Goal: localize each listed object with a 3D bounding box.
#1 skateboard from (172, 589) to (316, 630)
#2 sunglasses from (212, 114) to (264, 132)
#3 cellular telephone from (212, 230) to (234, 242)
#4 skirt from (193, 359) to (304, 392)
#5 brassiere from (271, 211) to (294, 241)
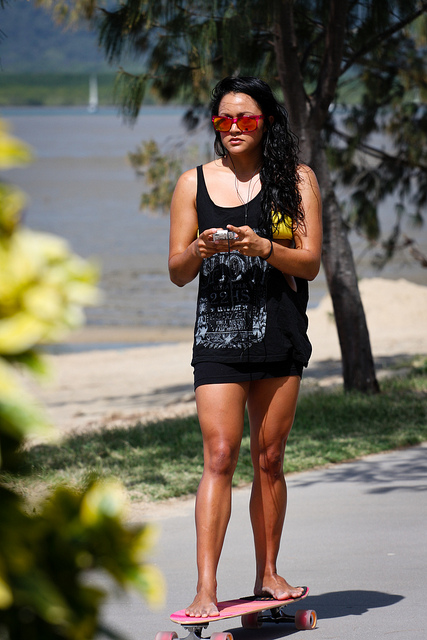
[{"bbox_3d":[0.112,0.853,2.464,0.163,0.088,0.602,-2,-9,35],"label":"skateboard"},{"bbox_3d":[0.071,-0.601,2.540,0.155,0.059,0.056,-4,2,6],"label":"sunglasses"},{"bbox_3d":[0.023,-0.234,2.296,0.067,0.021,0.026,-4,2,13],"label":"cellular telephone"},{"bbox_3d":[0.108,0.152,2.542,0.334,0.053,0.098,-5,2,-4],"label":"skirt"},{"bbox_3d":[0.210,-0.296,2.568,0.086,0.098,0.057,-6,17,-16],"label":"brassiere"}]
